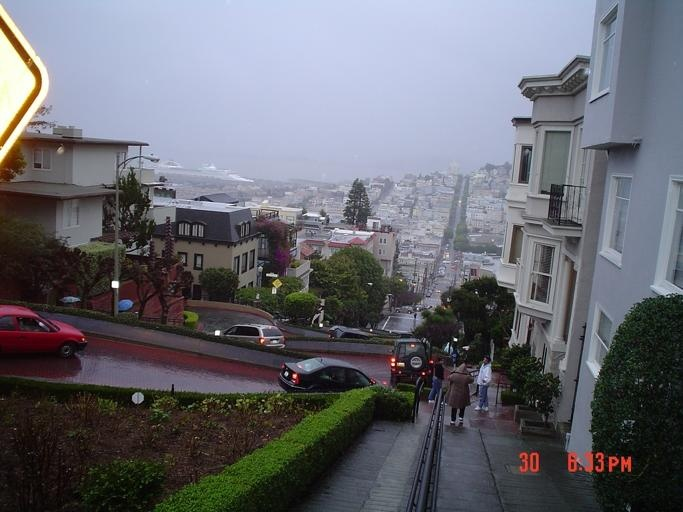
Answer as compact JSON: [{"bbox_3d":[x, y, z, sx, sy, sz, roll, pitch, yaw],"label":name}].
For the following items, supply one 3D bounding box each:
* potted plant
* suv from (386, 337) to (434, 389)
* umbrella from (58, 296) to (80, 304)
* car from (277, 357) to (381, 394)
[{"bbox_3d":[7.405,5.291,18.347,1.913,2.973,2.449,-2,5,1],"label":"potted plant"},{"bbox_3d":[3.692,5.591,26.328,1.678,1.703,3.178,0,4,6],"label":"suv"},{"bbox_3d":[-15.828,2.551,29.184,0.744,0.275,0.780,4,-2,9],"label":"umbrella"},{"bbox_3d":[-0.701,4.362,18.440,2.717,1.099,1.485,0,6,-23],"label":"car"}]
